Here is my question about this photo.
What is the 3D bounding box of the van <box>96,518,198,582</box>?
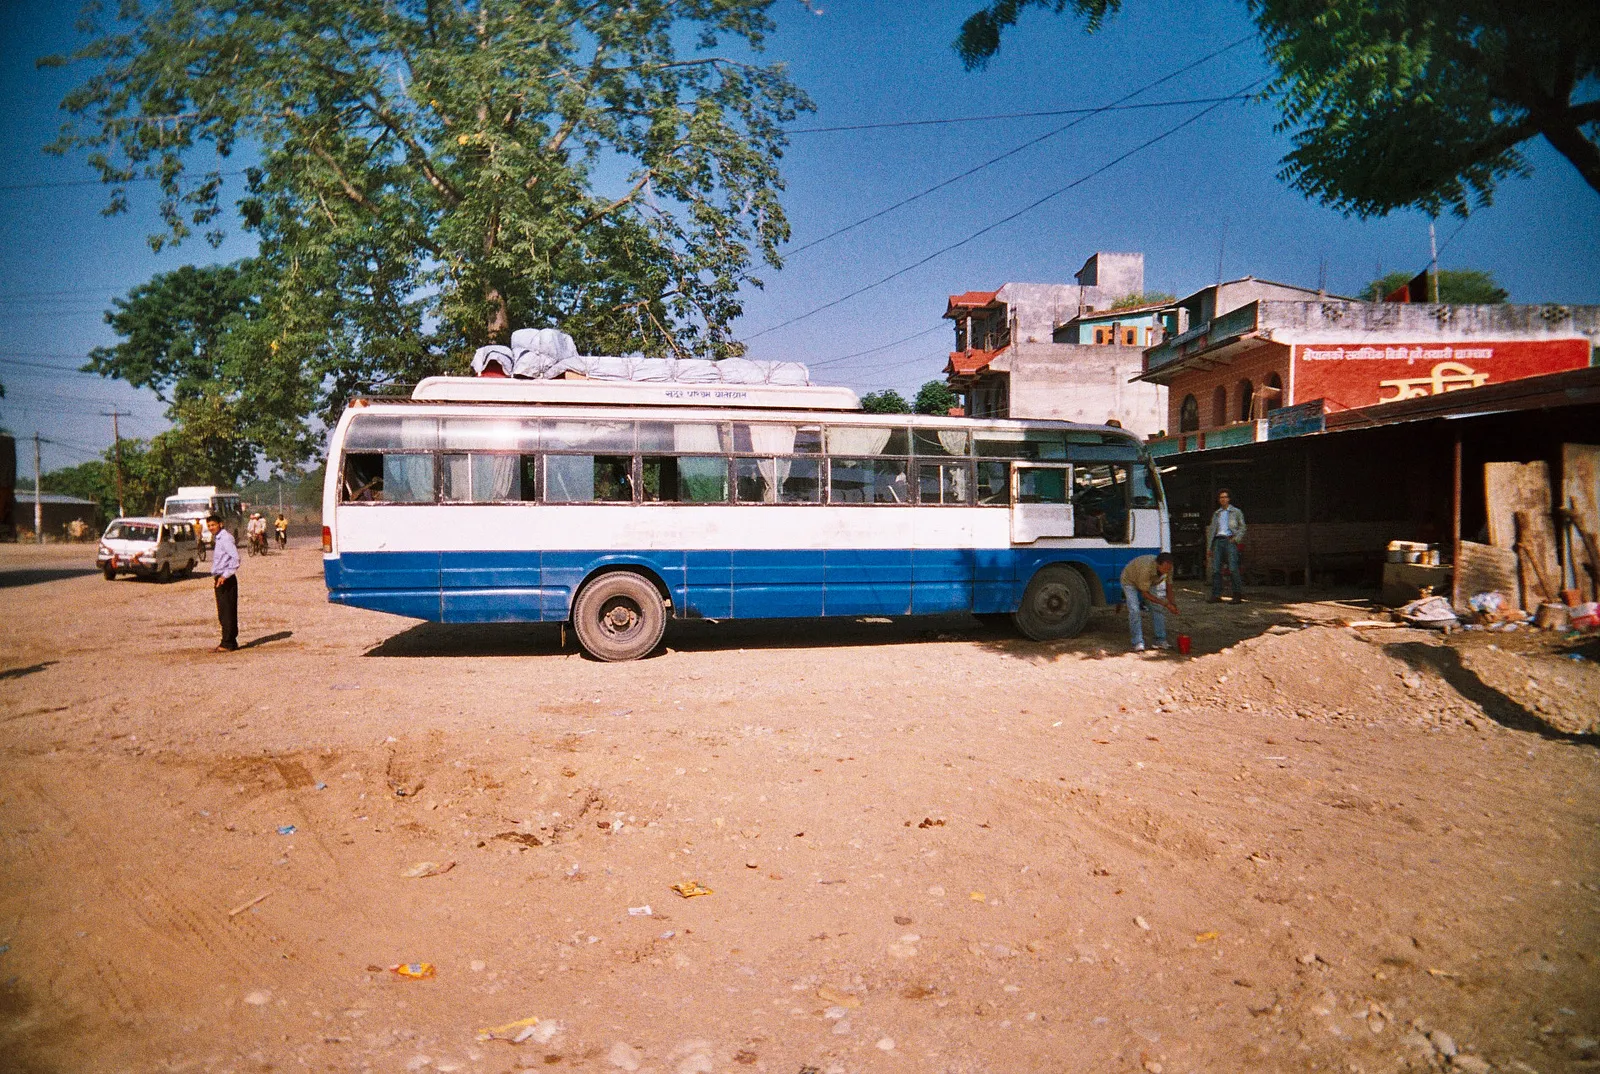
[{"bbox_3d":[-17.907,0.351,33.306,1.643,1.356,2.788,1,5,-10],"label":"van"}]

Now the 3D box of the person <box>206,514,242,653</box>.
[{"bbox_3d":[-9.550,0.726,20.164,0.371,2.211,1.377,-5,10,-25],"label":"person"}]

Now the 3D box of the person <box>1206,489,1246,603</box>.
[{"bbox_3d":[8.337,0.218,23.649,0.564,2.172,0.853,1,9,14],"label":"person"}]

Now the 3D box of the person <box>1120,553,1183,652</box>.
[{"bbox_3d":[5.576,0.999,19.512,0.860,1.526,1.369,2,9,15],"label":"person"}]

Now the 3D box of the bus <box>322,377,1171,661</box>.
[{"bbox_3d":[-1.628,-0.386,21.614,15.350,4.862,4.943,0,0,-10],"label":"bus"}]
